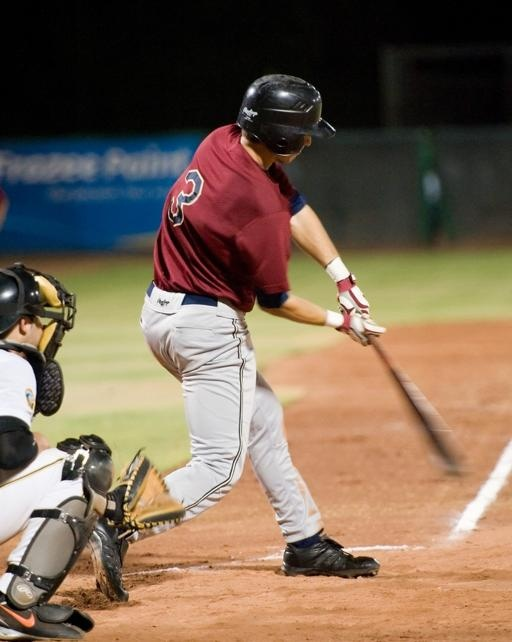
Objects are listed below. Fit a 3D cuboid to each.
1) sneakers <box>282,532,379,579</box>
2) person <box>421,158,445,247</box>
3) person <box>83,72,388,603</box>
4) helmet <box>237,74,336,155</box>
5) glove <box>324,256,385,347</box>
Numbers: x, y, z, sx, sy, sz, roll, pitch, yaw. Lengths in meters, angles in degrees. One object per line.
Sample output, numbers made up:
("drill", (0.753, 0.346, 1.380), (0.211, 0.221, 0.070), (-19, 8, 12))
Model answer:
("sneakers", (0.254, 0.859, 2.870), (0.412, 0.136, 0.137), (0, -3, 1))
("person", (3.475, -2.286, 15.426), (0.436, 1.630, 0.305), (5, 7, 36))
("person", (-0.057, 0.026, 2.781), (1.233, 1.819, 0.613), (-3, 7, -33))
("helmet", (0.109, -0.697, 2.747), (0.413, 0.233, 0.263), (0, 34, -12))
("glove", (0.359, -0.071, 3.141), (0.156, 0.401, 0.175), (27, -60, -34))
